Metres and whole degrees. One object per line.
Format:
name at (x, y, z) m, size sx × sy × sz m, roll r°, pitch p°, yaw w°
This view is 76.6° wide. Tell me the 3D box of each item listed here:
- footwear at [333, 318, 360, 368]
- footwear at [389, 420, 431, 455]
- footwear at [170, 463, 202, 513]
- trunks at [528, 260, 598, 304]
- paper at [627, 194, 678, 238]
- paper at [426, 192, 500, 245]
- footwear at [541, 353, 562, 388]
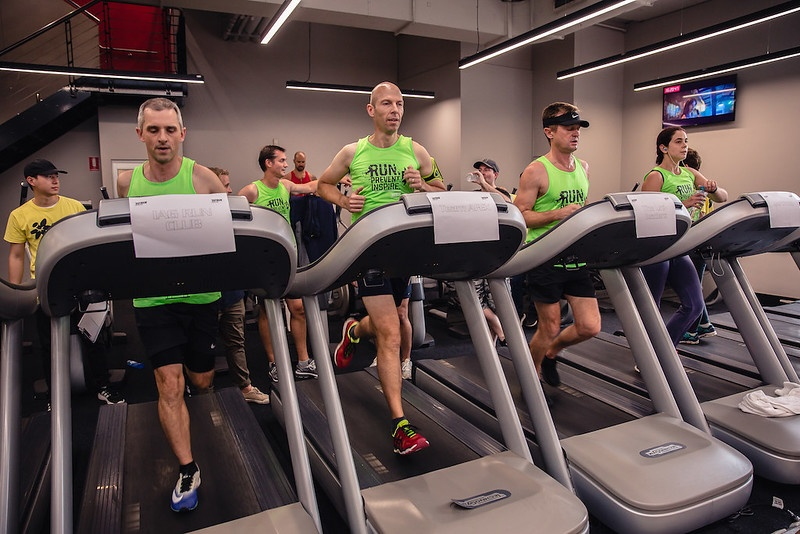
footwear at (-0.361, 0.517, 3.409) m, size 0.132 × 0.366 × 0.156 m, roll 0°, pitch 23°, yaw -29°
footwear at (0.044, 0.934, 2.792) m, size 0.112 × 0.142 × 0.285 m, roll -4°, pitch -11°, yaw -32°
footwear at (-1.086, 1.108, 2.579) m, size 0.102 × 0.104 × 0.263 m, roll -1°, pitch 10°, yaw -11°
trunks at (1.067, 0.096, 3.312) m, size 0.418 × 0.399 × 0.247 m, roll -3°, pitch 1°, yaw -14°
paper at (1.299, -0.266, 2.572) m, size 0.250 × 0.236 × 0.060 m, roll -5°, pitch 6°, yaw -9°
paper at (0.293, -0.220, 2.264) m, size 0.261 × 0.170 × 0.262 m, roll -5°, pitch 33°, yaw -6°
footwear at (1.096, 0.742, 3.617) m, size 0.092 × 0.255 × 0.098 m, roll -2°, pitch -26°, yaw -38°
